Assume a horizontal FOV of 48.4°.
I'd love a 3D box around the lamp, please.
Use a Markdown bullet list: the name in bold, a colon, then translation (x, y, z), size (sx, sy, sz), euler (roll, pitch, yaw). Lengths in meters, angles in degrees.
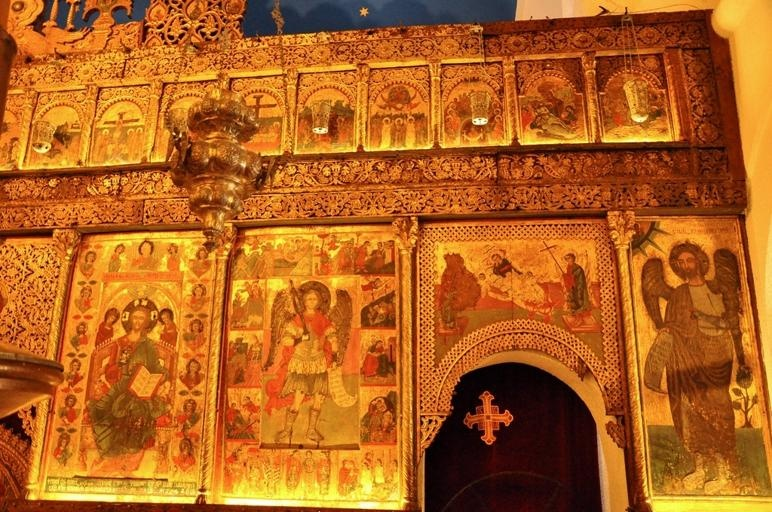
- **lamp**: translation (-2.003, -1.550, 10.769), size (1.337, 3.195, 1.868), euler (7, -22, -8)
